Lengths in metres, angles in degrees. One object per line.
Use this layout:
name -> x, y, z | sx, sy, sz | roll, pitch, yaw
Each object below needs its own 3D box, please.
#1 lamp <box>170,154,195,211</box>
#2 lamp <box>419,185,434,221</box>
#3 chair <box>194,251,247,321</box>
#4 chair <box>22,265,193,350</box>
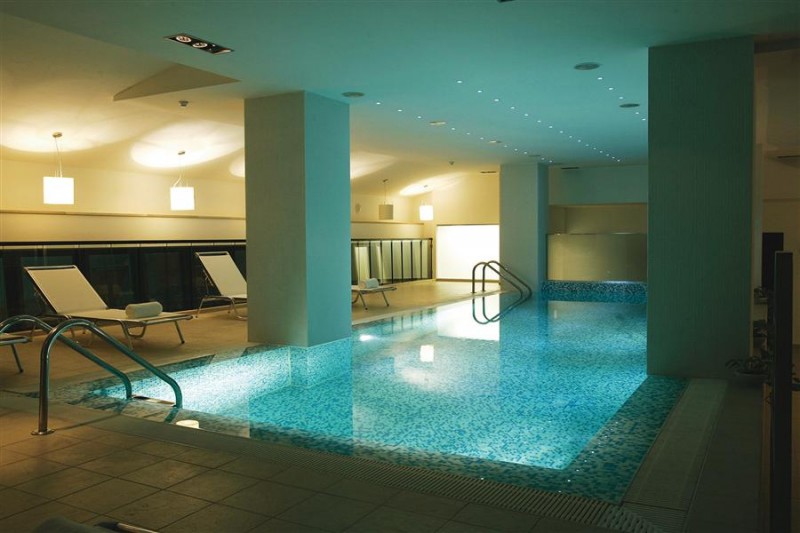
lamp -> -5.659, -2.154, 13.238 | 0.623, 1.460, 1.839 | -8, 8, -22
lamp -> 1.054, -2.598, 21.606 | 0.580, 1.483, 1.797 | -5, 7, 5
chair -> -4.017, 0.211, 11.578 | 0.905, 1.090, 1.191 | -7, 8, -19
chair -> -5.094, 0.648, 9.261 | 3.087, 1.301, 1.409 | 2, 2, 23
